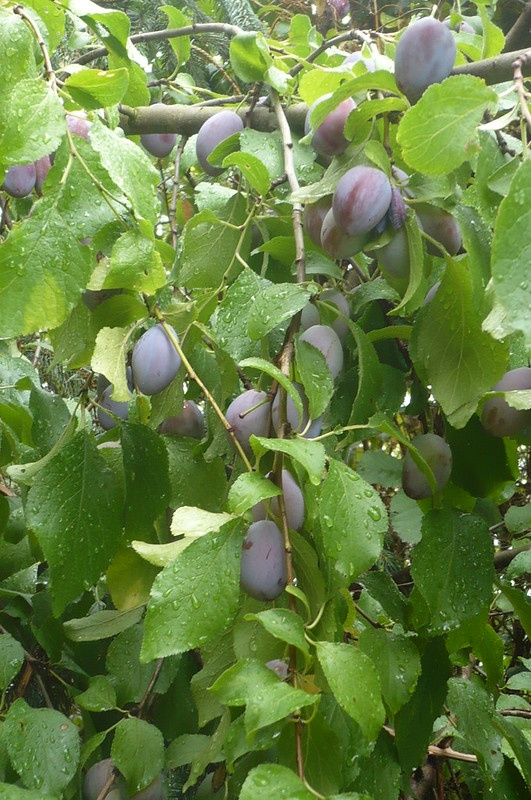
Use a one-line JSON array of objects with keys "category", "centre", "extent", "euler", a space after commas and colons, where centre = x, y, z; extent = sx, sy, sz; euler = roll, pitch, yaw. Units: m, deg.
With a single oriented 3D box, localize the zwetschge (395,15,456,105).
[{"category": "zwetschge", "centre": [0.159, -0.346, 0.745], "extent": [0.076, 0.054, 0.054], "euler": [-32, 27, -22]}]
